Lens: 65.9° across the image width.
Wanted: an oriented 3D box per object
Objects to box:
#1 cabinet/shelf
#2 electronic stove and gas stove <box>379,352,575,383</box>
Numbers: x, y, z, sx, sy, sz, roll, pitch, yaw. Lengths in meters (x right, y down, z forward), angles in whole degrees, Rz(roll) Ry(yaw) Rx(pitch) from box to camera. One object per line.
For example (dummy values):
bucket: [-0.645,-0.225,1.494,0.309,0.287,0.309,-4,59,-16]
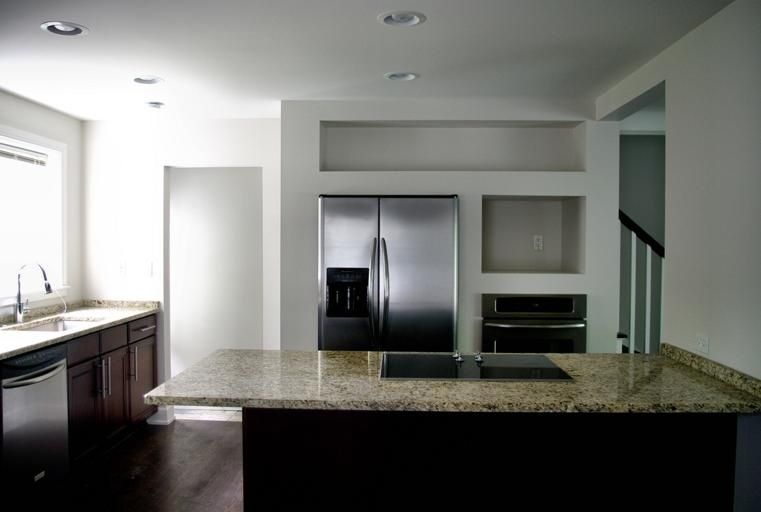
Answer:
cabinet/shelf: [-2.345,1.165,5.058,0.543,0.994,1.213,-1,0,-5]
electronic stove and gas stove: [0.595,0.699,3.828,1.189,0.069,0.455,1,9,0]
